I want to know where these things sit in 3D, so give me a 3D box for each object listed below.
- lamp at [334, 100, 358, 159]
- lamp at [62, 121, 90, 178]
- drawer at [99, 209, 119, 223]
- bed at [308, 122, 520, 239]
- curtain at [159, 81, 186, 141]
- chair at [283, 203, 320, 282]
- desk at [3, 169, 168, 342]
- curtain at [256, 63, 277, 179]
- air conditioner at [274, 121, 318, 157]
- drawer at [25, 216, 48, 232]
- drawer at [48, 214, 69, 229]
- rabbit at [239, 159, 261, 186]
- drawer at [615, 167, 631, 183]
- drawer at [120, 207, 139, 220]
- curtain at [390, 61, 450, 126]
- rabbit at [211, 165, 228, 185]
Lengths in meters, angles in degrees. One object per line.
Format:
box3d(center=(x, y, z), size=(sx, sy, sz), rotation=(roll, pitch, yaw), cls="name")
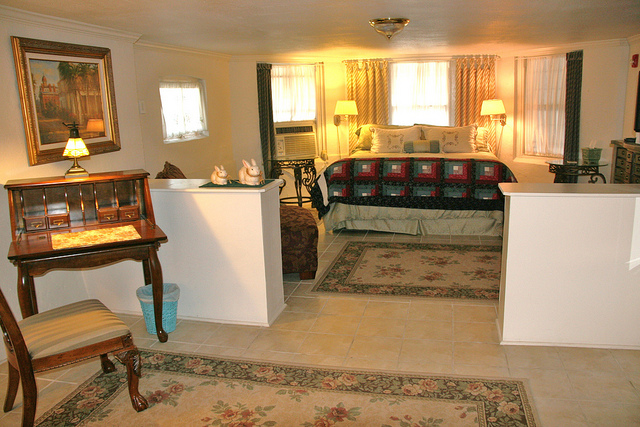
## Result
box3d(center=(0.519, -1.722, 8.941), size=(0.580, 1.472, 0.571), rotation=(0, 10, -1), cls="lamp")
box3d(center=(-2.387, -0.617, 4.367), size=(0.286, 0.505, 0.261), rotation=(4, 12, 6), cls="lamp")
box3d(center=(-1.891, 0.020, 3.993), size=(0.205, 0.116, 0.107), rotation=(-2, 2, -31), cls="drawer")
box3d(center=(1.644, -0.705, 7.570), size=(3.018, 1.331, 2.973), rotation=(5, 18, 18), cls="bed")
box3d(center=(-2.287, -1.595, 6.939), size=(0.153, 0.855, 0.586), rotation=(-2, 15, 12), cls="curtain")
box3d(center=(-0.251, 0.383, 5.238), size=(0.438, 0.712, 0.413), rotation=(-7, 15, -5), cls="chair")
box3d(center=(-2.010, 0.329, 3.816), size=(1.367, 1.585, 1.068), rotation=(-9, 20, -27), cls="desk")
box3d(center=(-1.019, -1.731, 8.532), size=(0.454, 2.089, 0.232), rotation=(10, 15, 31), cls="curtain")
box3d(center=(-0.530, -1.507, 8.918), size=(0.839, 0.677, 0.273), rotation=(-2, 5, -18), cls="air conditioner")
box3d(center=(-2.412, 0.090, 3.799), size=(0.187, 0.155, 0.122), rotation=(-2, -4, -31), cls="drawer")
box3d(center=(-2.268, 0.065, 3.885), size=(0.209, 0.131, 0.112), rotation=(0, -4, -37), cls="drawer")
box3d(center=(-0.681, -0.402, 4.277), size=(0.199, 0.236, 0.272), rotation=(-12, 24, -34), cls="rabbit")
box3d(center=(4.453, -0.571, 6.577), size=(0.063, 0.232, 0.262), rotation=(-1, -3, 44), cls="drawer")
box3d(center=(-1.736, -0.002, 4.065), size=(0.193, 0.114, 0.102), rotation=(-4, 3, -34), cls="drawer")
box3d(center=(2.002, -2.425, 9.091), size=(1.285, 1.316, 0.063), rotation=(9, 27, 29), cls="curtain")
box3d(center=(-0.995, -0.379, 4.322), size=(0.197, 0.179, 0.149), rotation=(11, 20, 32), cls="rabbit")
